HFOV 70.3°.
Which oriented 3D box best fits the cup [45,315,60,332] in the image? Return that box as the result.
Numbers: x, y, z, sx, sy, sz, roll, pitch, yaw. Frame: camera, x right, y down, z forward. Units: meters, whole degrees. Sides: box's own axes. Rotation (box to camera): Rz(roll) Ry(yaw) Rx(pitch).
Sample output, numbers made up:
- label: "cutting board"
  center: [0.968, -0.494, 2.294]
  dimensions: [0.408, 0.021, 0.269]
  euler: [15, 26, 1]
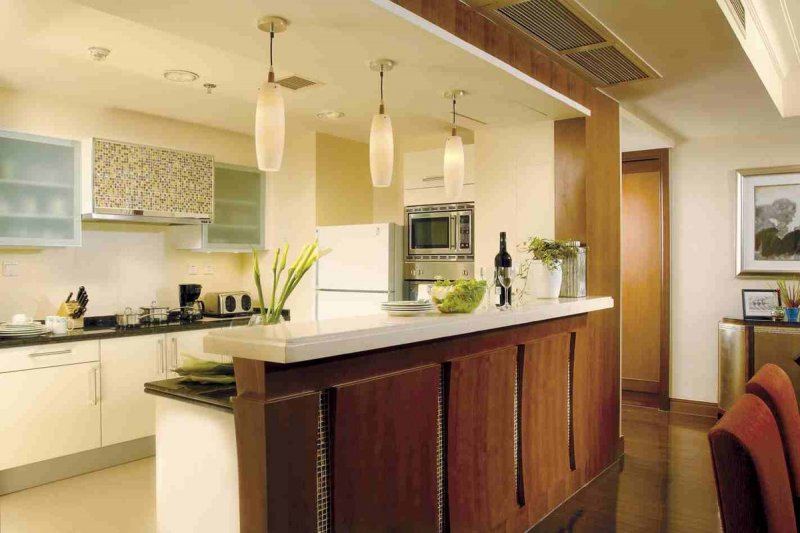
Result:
- label: "cup"
  center: [-3.101, 0.520, 5.062]
  dimensions: [0.138, 0.155, 0.134]
  euler: [0, -5, 0]

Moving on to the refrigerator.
- label: "refrigerator"
  center: [-0.444, 0.067, 6.030]
  dimensions: [0.977, 1.023, 0.536]
  euler: [-1, 8, 0]

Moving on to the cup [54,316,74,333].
- label: "cup"
  center: [-2.991, 0.531, 5.039]
  dimensions: [0.097, 0.135, 0.157]
  euler: [-1, -5, 36]

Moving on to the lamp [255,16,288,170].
- label: "lamp"
  center: [-0.758, -1.022, 3.415]
  dimensions: [0.203, 0.885, 0.586]
  euler: [-2, 8, -11]

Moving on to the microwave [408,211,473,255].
- label: "microwave"
  center: [0.506, -0.350, 6.169]
  dimensions: [0.793, 0.502, 0.511]
  euler: [-2, -1, 32]

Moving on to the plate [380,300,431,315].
- label: "plate"
  center: [0.050, 0.255, 3.541]
  dimensions: [0.308, 0.083, 0.226]
  euler: [0, 7, 3]

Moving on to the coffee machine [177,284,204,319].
- label: "coffee machine"
  center: [-2.246, 0.384, 6.090]
  dimensions: [0.362, 0.504, 0.272]
  euler: [-1, 0, -21]

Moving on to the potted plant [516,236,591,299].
- label: "potted plant"
  center: [1.239, 0.024, 4.802]
  dimensions: [0.568, 0.535, 0.496]
  euler: [1, -2, -16]

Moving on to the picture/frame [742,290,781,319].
- label: "picture/frame"
  center: [3.948, 0.429, 6.189]
  dimensions: [0.306, 0.313, 0.025]
  euler: [2, -9, 27]

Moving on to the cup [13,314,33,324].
- label: "cup"
  center: [-3.322, 0.474, 5.032]
  dimensions: [0.113, 0.085, 0.156]
  euler: [-1, -7, 12]

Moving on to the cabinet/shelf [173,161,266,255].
- label: "cabinet/shelf"
  center: [-2.045, -0.598, 6.551]
  dimensions: [1.167, 1.123, 0.436]
  euler: [1, 20, -25]

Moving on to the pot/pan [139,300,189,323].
- label: "pot/pan"
  center: [-2.448, 0.480, 5.825]
  dimensions: [0.411, 0.163, 0.238]
  euler: [-1, -2, 21]

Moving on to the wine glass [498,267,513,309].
- label: "wine glass"
  center: [0.741, 0.142, 4.052]
  dimensions: [0.103, 0.274, 0.179]
  euler: [1, 8, 11]

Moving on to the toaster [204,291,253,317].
- label: "toaster"
  center: [-1.936, 0.421, 6.281]
  dimensions: [0.284, 0.203, 0.382]
  euler: [-3, -4, 32]

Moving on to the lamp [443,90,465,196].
- label: "lamp"
  center: [0.386, -0.861, 4.051]
  dimensions: [0.167, 0.733, 0.165]
  euler: [1, 5, 23]
